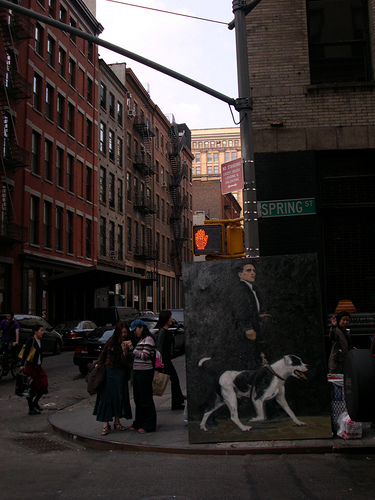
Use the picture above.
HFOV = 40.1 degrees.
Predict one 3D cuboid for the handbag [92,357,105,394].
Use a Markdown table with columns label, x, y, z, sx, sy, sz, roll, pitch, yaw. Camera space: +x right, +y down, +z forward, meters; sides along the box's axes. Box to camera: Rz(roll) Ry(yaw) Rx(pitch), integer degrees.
| label | x | y | z | sx | sy | sz | roll | pitch | yaw |
| --- | --- | --- | --- | --- | --- | --- | --- | --- | --- |
| handbag | -1.200 | 1.708 | 7.014 | 0.111 | 0.431 | 0.240 | -7 | -5 | 43 |

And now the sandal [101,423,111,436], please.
| label | x | y | z | sx | sy | sz | roll | pitch | yaw |
| --- | --- | --- | --- | --- | --- | --- | --- | --- | --- |
| sandal | -1.106 | 2.427 | 6.895 | 0.083 | 0.087 | 0.224 | -5 | -4 | 14 |

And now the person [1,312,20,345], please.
| label | x | y | z | sx | sy | sz | roll | pitch | yaw |
| --- | --- | --- | --- | --- | --- | --- | --- | --- | --- |
| person | -5.491 | 2.421 | 15.937 | 0.498 | 0.941 | 1.280 | -2 | -5 | -27 |

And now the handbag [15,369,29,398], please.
| label | x | y | z | sx | sy | sz | roll | pitch | yaw |
| --- | --- | --- | --- | --- | --- | --- | --- | --- | --- |
| handbag | -3.130 | 2.546 | 9.732 | 0.233 | 0.579 | 0.567 | -2 | -4 | -19 |

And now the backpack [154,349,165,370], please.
| label | x | y | z | sx | sy | sz | roll | pitch | yaw |
| --- | --- | --- | --- | --- | --- | --- | --- | --- | --- |
| backpack | -0.447 | 1.552 | 7.276 | 0.143 | 0.276 | 0.260 | 1 | -10 | -4 |

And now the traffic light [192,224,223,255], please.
| label | x | y | z | sx | sy | sz | roll | pitch | yaw |
| --- | --- | --- | --- | --- | --- | --- | --- | --- | --- |
| traffic light | 0.285 | -0.144 | 7.012 | 0.348 | 0.379 | 0.129 | 0 | -10 | -1 |

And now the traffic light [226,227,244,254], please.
| label | x | y | z | sx | sy | sz | roll | pitch | yaw |
| --- | --- | --- | --- | --- | --- | --- | --- | --- | --- |
| traffic light | 0.654 | -0.134 | 7.184 | 0.240 | 0.386 | 0.175 | -4 | -4 | 7 |

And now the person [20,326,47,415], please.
| label | x | y | z | sx | sy | sz | roll | pitch | yaw |
| --- | --- | --- | --- | --- | --- | --- | --- | --- | --- |
| person | -2.951 | 2.303 | 9.867 | 0.456 | 1.642 | 0.549 | -2 | -4 | -17 |

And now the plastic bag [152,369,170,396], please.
| label | x | y | z | sx | sy | sz | roll | pitch | yaw |
| --- | --- | --- | --- | --- | --- | --- | --- | --- | --- |
| plastic bag | -0.385 | 1.913 | 7.414 | 0.221 | 0.387 | 0.733 | -4 | -4 | -1 |

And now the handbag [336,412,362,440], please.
| label | x | y | z | sx | sy | sz | roll | pitch | yaw |
| --- | --- | --- | --- | --- | --- | --- | --- | --- | --- |
| handbag | 1.906 | 2.120 | 6.129 | 0.321 | 0.273 | 0.319 | -6 | -5 | 28 |

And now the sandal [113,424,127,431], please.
| label | x | y | z | sx | sy | sz | roll | pitch | yaw |
| --- | --- | --- | --- | --- | --- | --- | --- | --- | --- |
| sandal | -0.953 | 2.510 | 7.250 | 0.191 | 0.085 | 0.157 | -5 | -4 | 1 |

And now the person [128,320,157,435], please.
| label | x | y | z | sx | sy | sz | roll | pitch | yaw |
| --- | --- | --- | --- | --- | --- | --- | --- | --- | --- |
| person | -0.599 | 1.750 | 7.123 | 0.361 | 1.536 | 0.478 | -3 | -4 | -7 |
